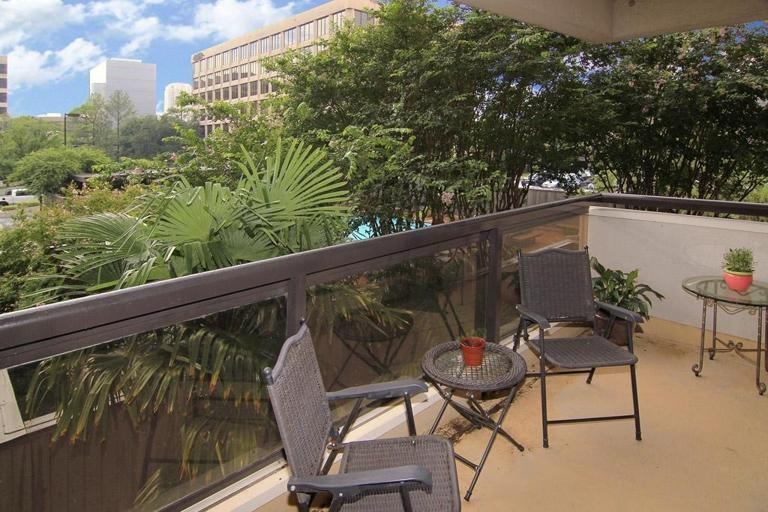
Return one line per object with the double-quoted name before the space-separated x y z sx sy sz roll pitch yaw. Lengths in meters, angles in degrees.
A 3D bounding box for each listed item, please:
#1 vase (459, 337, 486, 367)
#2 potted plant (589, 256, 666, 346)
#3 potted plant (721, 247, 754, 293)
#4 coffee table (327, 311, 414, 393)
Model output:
"vase" 0.589 0.624 3.432 0.165 0.135 0.170 0 4 -2
"potted plant" 2.251 0.379 5.024 0.801 0.735 0.831 17 -6 21
"potted plant" 3.002 0.113 4.410 0.230 0.316 0.217 -12 17 -24
"coffee table" -0.094 0.566 3.404 0.467 0.509 0.455 0 5 -6
